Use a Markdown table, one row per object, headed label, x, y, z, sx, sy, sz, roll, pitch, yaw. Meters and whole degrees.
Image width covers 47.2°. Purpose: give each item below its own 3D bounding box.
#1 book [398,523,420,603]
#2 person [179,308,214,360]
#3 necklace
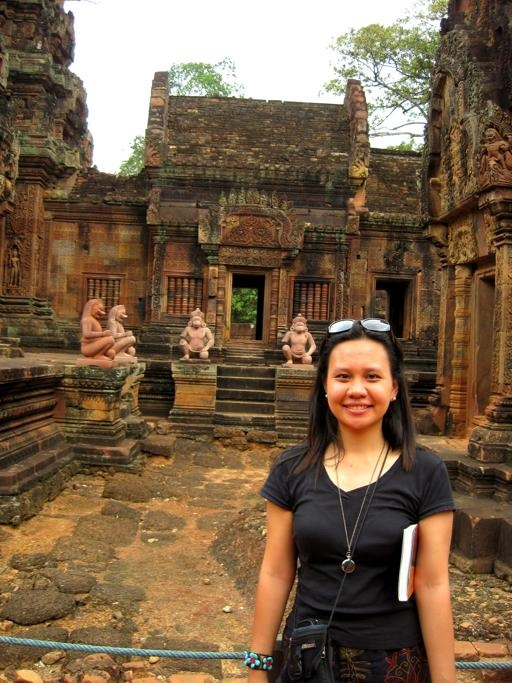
| label | x | y | z | sx | sy | sz | roll | pitch | yaw |
| --- | --- | --- | --- | --- | --- | --- | --- | --- | --- |
| book | 0.392 | 0.583 | 1.523 | 0.044 | 0.187 | 0.113 | 8 | -1 | 19 |
| person | -0.942 | -0.105 | 9.340 | 0.470 | 0.797 | 0.632 | 8 | -1 | -7 |
| necklace | 0.285 | 0.463 | 1.595 | 0.177 | 0.302 | 0.108 | 9 | -2 | -38 |
